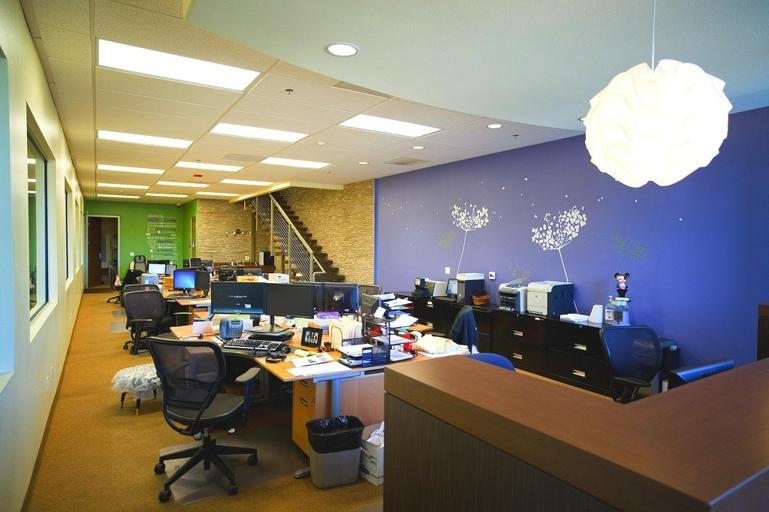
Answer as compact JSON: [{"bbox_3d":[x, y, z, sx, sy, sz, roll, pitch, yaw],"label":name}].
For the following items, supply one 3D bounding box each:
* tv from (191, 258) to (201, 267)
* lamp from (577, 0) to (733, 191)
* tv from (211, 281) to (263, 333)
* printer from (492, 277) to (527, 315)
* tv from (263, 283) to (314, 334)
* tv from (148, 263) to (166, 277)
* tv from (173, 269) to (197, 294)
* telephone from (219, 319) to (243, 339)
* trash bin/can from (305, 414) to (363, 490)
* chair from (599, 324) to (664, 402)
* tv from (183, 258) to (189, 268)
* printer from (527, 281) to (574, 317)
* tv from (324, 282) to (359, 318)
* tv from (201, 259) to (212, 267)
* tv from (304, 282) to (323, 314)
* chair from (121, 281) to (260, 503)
[{"bbox_3d":[-4.467,0.151,11.920,0.194,0.177,0.095,1,8,-8],"label":"tv"},{"bbox_3d":[1.866,-0.910,3.519,0.892,0.790,0.399,0,1,33],"label":"lamp"},{"bbox_3d":[-1.669,0.466,5.690,0.644,0.378,0.071,5,-9,-41],"label":"tv"},{"bbox_3d":[1.869,0.558,7.351,0.260,0.448,0.481,-4,3,-25],"label":"printer"},{"bbox_3d":[-1.067,0.566,5.593,0.575,0.546,0.186,1,-4,-2],"label":"tv"},{"bbox_3d":[-5.427,0.314,12.067,0.492,0.373,0.453,4,-4,-14],"label":"tv"},{"bbox_3d":[-3.700,0.470,9.359,0.447,0.426,0.168,3,-8,-18],"label":"tv"},{"bbox_3d":[-1.619,0.766,5.326,0.201,0.206,0.211,3,-4,-33],"label":"telephone"},{"bbox_3d":[-0.473,1.777,4.520,0.561,0.480,0.406,5,-7,-33],"label":"trash bin/can"},{"bbox_3d":[2.331,1.006,4.775,0.399,0.673,0.479,0,1,39],"label":"chair"},{"bbox_3d":[-5.142,0.181,13.043,0.262,0.230,0.060,9,16,29],"label":"tv"},{"bbox_3d":[2.302,0.582,7.063,0.530,0.440,0.495,-1,2,-36],"label":"printer"},{"bbox_3d":[-0.541,0.545,6.156,0.420,0.334,0.142,2,3,0],"label":"tv"},{"bbox_3d":[-4.233,0.164,11.982,0.222,0.075,0.231,-1,7,-15],"label":"tv"},{"bbox_3d":[-0.824,0.484,5.814,0.389,0.372,0.132,1,8,0],"label":"tv"},{"bbox_3d":[-1.718,1.355,4.741,0.885,1.378,1.317,-1,1,-25],"label":"chair"}]
